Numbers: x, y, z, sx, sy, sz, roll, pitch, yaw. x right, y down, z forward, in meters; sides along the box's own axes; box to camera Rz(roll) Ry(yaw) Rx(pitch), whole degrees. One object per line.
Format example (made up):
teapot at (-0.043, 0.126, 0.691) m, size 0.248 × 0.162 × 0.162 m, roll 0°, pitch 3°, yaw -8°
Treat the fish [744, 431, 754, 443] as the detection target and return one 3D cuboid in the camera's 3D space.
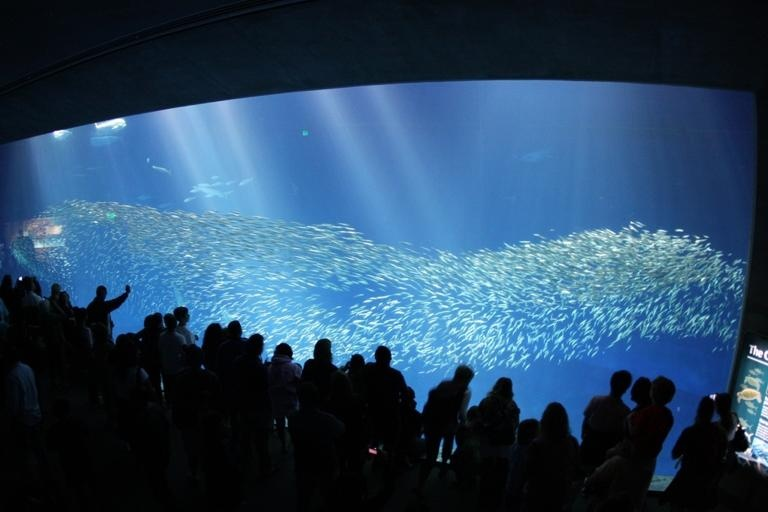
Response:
fish at (5.253, 2.591, 6.991) m, size 0.110 × 0.136 × 0.062 m, roll -18°, pitch -8°, yaw 39°
